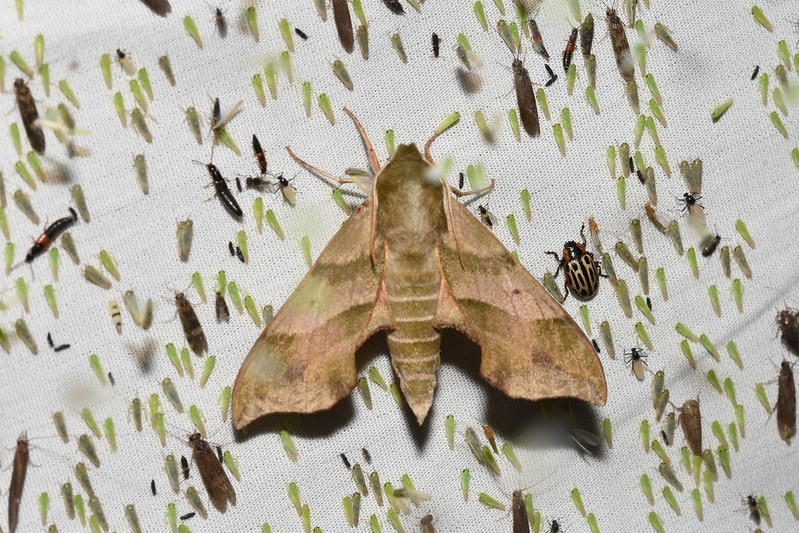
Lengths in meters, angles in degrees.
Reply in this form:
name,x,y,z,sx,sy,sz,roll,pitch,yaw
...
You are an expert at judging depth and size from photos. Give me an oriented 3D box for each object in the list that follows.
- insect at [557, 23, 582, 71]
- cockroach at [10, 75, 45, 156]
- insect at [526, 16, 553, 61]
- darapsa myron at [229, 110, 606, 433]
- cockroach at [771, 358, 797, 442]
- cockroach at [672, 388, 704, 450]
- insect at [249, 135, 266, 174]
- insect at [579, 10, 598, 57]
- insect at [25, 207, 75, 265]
name,x,y,z,sx,sy,sz,roll,pitch,yaw
insect,0.813,-1.044,5.047,0.075,0.052,0.192,10,92,4
cockroach,-1.768,-0.732,5.125,0.100,0.125,0.413,-13,95,-3
insect,0.670,-1.086,5.101,0.061,0.070,0.256,-12,92,-18
darapsa myron,0.061,0.131,4.868,1.674,0.279,1.122,-2,82,-1
cockroach,1.864,0.650,5.140,0.089,0.130,0.377,-2,85,-32
cockroach,1.393,0.754,5.127,0.130,0.065,0.260,-2,85,-17
insect,-0.670,-0.543,5.064,0.076,0.034,0.153,-4,95,0
insect,0.896,-1.114,5.057,0.092,0.046,0.189,3,91,-4
insect,-1.666,-0.146,5.064,0.331,0.036,0.074,-41,84,-6
